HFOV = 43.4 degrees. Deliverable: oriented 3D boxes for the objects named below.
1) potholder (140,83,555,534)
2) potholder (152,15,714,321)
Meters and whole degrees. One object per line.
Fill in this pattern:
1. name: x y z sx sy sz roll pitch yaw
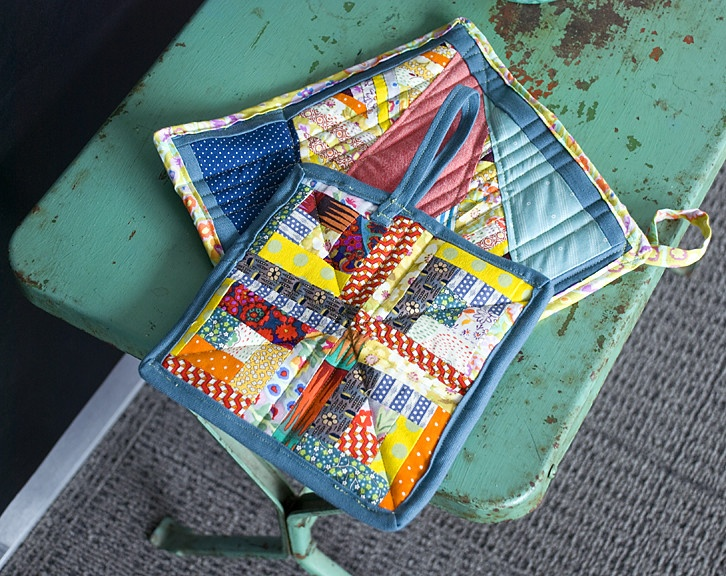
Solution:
1. potholder: 0.034 0.000 1.480 0.488 0.070 0.717 35 78 7
2. potholder: 0.101 -0.209 1.454 0.592 0.069 0.638 -36 65 -12
